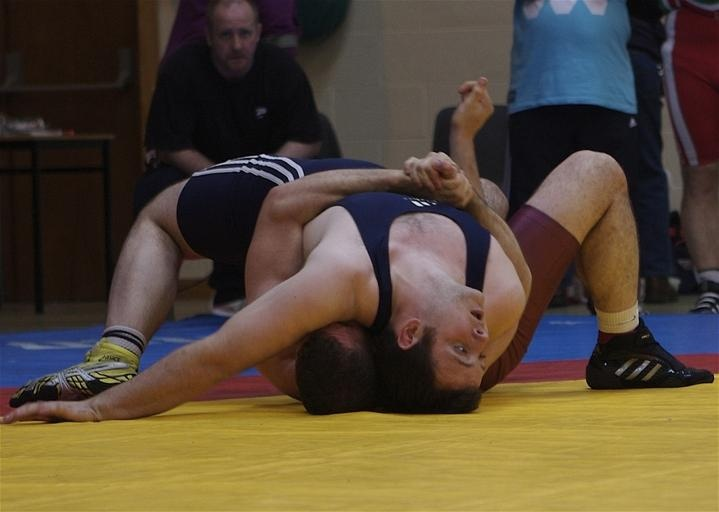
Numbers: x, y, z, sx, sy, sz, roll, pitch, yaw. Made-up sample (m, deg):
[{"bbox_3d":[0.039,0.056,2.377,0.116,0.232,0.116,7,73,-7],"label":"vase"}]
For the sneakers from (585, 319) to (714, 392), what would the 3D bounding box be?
[{"bbox_3d":[0.806,0.317,2.557,0.462,0.241,0.158,1,-5,8],"label":"sneakers"}]

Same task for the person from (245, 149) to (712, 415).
[{"bbox_3d":[0.235,0.066,2.200,1.101,0.506,0.729,-3,-3,-41],"label":"person"}]
